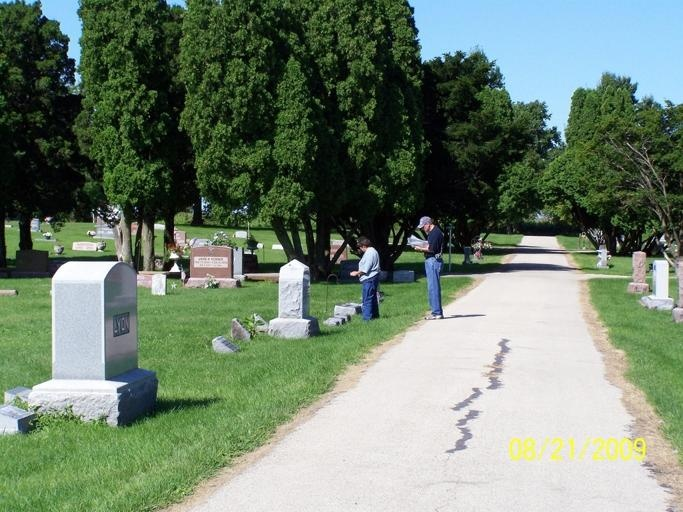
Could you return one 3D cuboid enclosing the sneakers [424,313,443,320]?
[{"bbox_3d":[2.259,1.497,21.987,0.424,0.213,0.171,3,1,7],"label":"sneakers"}]
